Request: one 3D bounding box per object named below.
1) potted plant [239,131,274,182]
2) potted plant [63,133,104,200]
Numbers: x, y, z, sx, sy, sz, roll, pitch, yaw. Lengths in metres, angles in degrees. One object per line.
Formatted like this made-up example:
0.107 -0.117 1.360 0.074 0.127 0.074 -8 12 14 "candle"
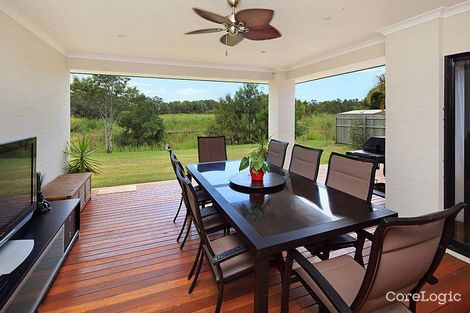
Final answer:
0.326 -0.013 3.938 0.484 0.632 0.459 12 2 22 "potted plant"
-3.221 0.113 5.945 0.814 0.998 0.826 1 -5 -8 "potted plant"
